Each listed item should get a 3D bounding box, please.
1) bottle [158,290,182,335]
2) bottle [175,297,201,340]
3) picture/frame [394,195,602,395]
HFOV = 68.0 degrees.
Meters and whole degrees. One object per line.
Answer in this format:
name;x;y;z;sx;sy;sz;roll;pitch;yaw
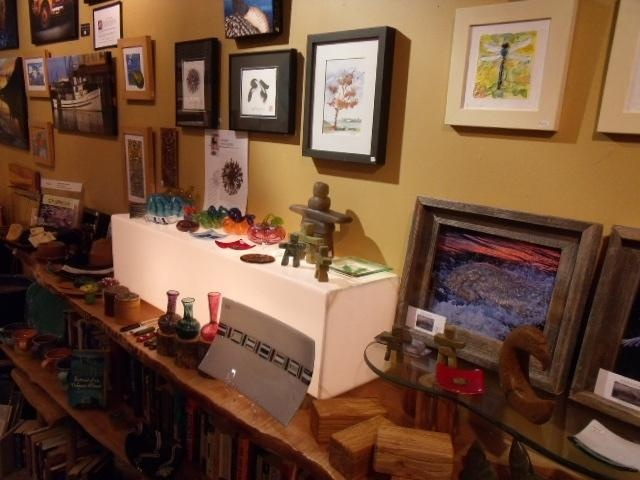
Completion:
bottle;-0.624;0.306;1.984;0.113;0.170;0.119;3;-1;0
bottle;-0.535;0.320;1.913;0.099;0.158;0.099;4;8;-1
picture/frame;0.584;0.177;1.493;0.043;0.524;0.567;1;10;-44
